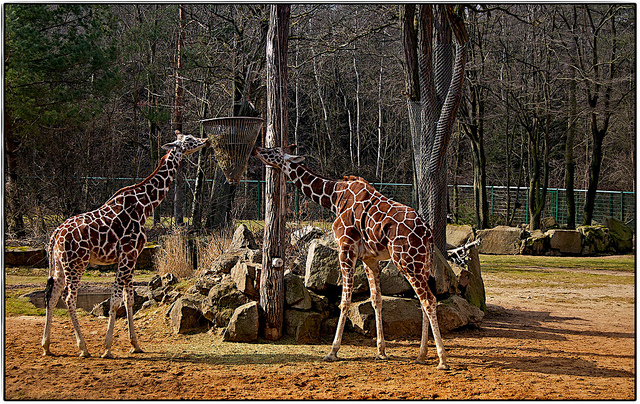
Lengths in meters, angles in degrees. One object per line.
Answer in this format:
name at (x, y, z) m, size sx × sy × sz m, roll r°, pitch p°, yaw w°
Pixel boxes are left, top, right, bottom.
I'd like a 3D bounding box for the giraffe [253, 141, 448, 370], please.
giraffe at (1.422, 1.530, 22.473) m, size 4.920 × 6.444 × 2.087 m, roll 1°, pitch -1°, yaw 8°
